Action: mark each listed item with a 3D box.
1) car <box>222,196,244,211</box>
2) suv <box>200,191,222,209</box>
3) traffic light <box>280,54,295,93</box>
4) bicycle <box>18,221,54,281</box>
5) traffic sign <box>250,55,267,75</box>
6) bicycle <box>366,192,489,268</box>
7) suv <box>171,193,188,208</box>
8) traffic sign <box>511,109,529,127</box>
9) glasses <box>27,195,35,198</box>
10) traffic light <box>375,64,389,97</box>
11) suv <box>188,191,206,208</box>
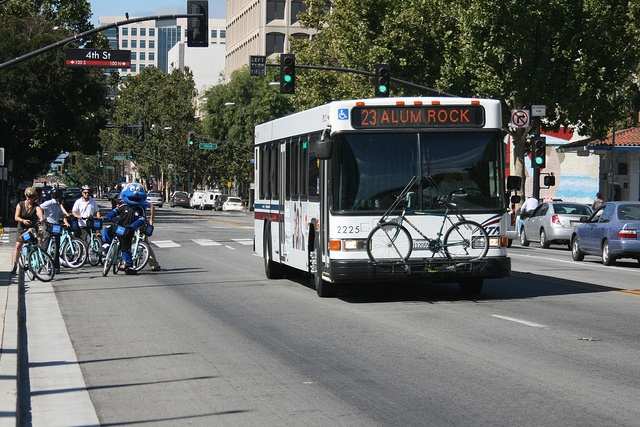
[{"bbox_3d":[-9.217,-0.963,85.820,1.391,1.107,3.319,0,4,-8],"label":"car"},{"bbox_3d":[-12.448,-1.416,92.483,1.508,1.361,2.555,0,6,-13],"label":"suv"},{"bbox_3d":[-1.333,-5.936,34.294,0.564,1.717,1.231,1,0,-4],"label":"traffic light"},{"bbox_3d":[-7.209,1.056,20.700,1.247,1.323,0.507,1,1,42],"label":"bicycle"},{"bbox_3d":[-2.755,-6.670,36.418,0.695,0.910,1.224,1,1,-2],"label":"traffic sign"},{"bbox_3d":[2.113,0.356,16.482,2.390,1.342,1.190,1,-4,-6],"label":"bicycle"},{"bbox_3d":[-17.292,-1.665,101.713,2.306,1.815,1.309,1,0,7],"label":"suv"},{"bbox_3d":[9.223,-4.388,37.544,0.916,0.930,0.096,-6,4,-9],"label":"traffic sign"},{"bbox_3d":[-7.661,-0.416,21.718,0.159,0.069,0.338,1,1,-9],"label":"glasses"},{"bbox_3d":[2.539,-5.344,32.990,0.598,1.400,0.502,0,28,2],"label":"traffic light"},{"bbox_3d":[-14.364,-1.561,96.048,1.427,1.309,2.466,0,10,-10],"label":"suv"}]
